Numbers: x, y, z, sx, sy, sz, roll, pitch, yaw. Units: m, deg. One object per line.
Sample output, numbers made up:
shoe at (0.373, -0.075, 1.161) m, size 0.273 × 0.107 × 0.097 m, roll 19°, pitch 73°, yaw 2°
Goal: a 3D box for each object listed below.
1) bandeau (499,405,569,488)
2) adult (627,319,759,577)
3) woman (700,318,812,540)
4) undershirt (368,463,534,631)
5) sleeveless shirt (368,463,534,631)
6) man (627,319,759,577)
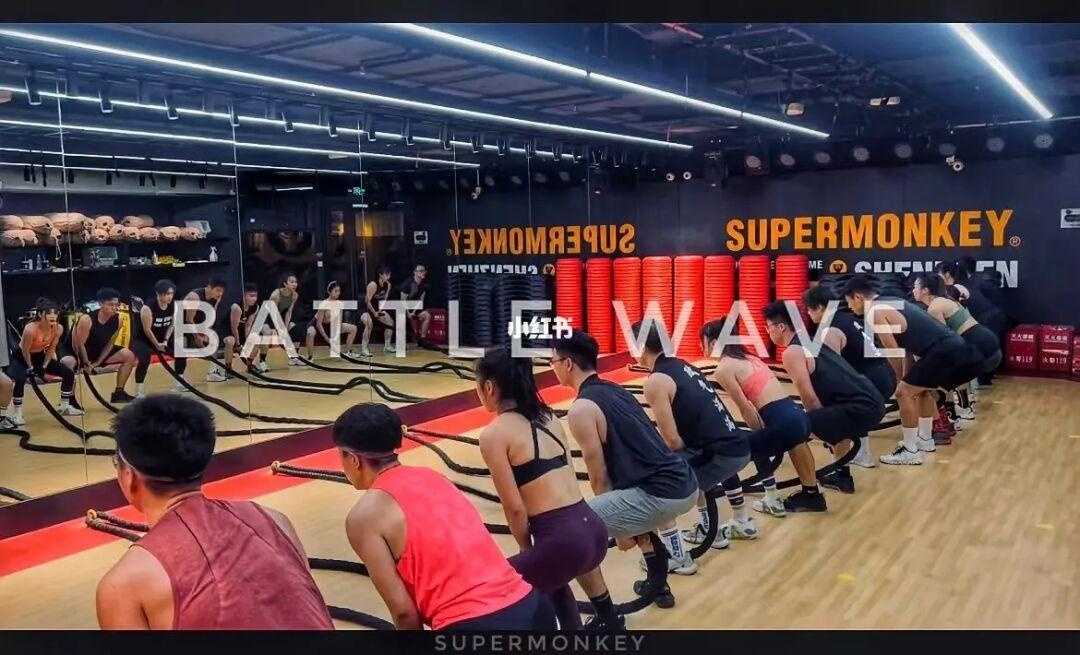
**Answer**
bandeau at (-0.002, 0.717, 3.923) m, size 0.375 × 0.395 × 0.404 m, roll -11°, pitch -4°, yaw 26°
adult at (1.194, 0.963, 5.418) m, size 1.051 × 1.905 × 1.105 m, roll -5°, pitch 4°, yaw 43°
woman at (1.936, 0.910, 6.004) m, size 1.092 × 1.845 × 1.061 m, roll -14°, pitch -5°, yaw 37°
undershirt at (-0.513, 1.107, 3.408) m, size 0.683 × 0.910 × 0.316 m, roll -24°, pitch -14°, yaw -29°
sleeveless shirt at (-0.494, 1.146, 3.545) m, size 0.773 × 0.343 × 0.996 m, roll -1°, pitch 40°, yaw -46°
man at (1.207, 0.972, 5.448) m, size 1.123 × 1.922 × 1.072 m, roll -15°, pitch 9°, yaw -44°
